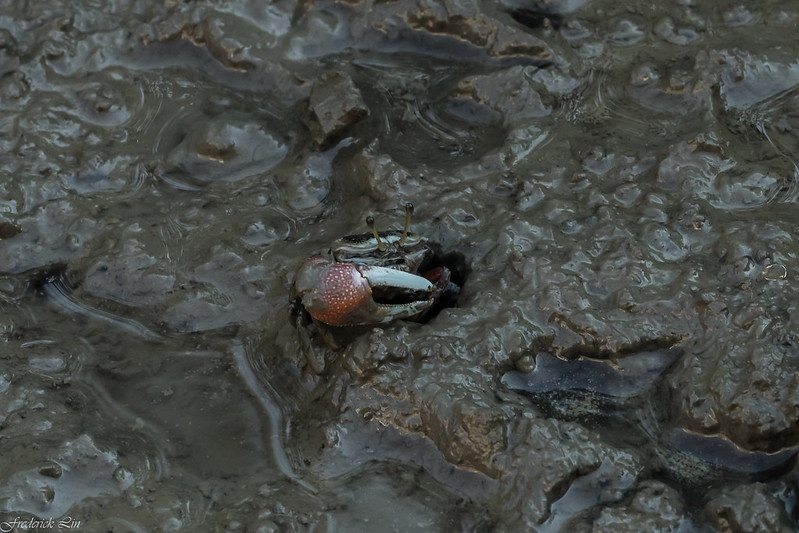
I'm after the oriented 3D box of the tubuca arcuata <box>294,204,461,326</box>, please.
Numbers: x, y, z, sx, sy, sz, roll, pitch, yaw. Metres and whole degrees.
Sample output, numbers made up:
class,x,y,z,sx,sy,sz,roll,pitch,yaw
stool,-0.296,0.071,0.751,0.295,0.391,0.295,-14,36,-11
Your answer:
class,x,y,z,sx,sy,sz,roll,pitch,yaw
tubuca arcuata,-0.152,0.061,5.939,0.891,0.853,0.562,-13,-67,-22
